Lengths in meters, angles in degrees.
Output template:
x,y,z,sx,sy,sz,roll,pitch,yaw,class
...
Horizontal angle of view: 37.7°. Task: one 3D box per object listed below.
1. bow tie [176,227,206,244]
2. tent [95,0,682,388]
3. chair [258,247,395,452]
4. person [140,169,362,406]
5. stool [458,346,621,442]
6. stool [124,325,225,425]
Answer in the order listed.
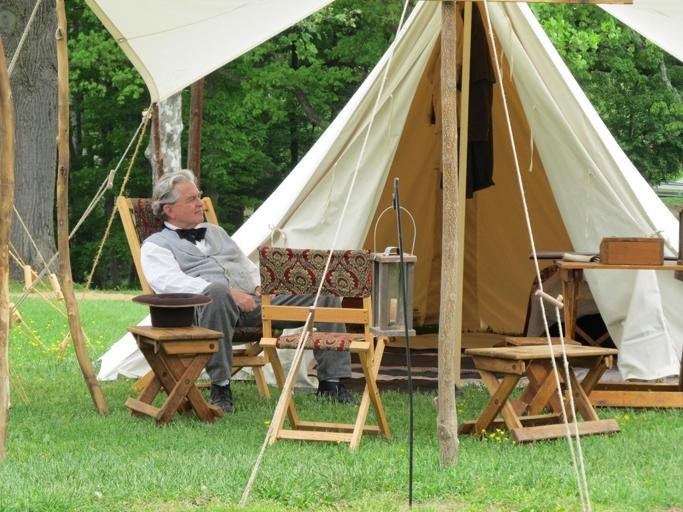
x,y,z,sx,sy,sz,roll,pitch,yaw,class
-1.018,-0.156,6.827,0.118,0.049,0.122,13,18,24,bow tie
1.035,-0.653,8.572,3.146,2.597,3.228,-1,2,1,tent
-0.093,0.518,6.051,0.796,1.165,0.956,0,10,-5,chair
-0.769,0.178,6.764,1.026,1.731,1.483,-4,-6,-33,person
1.211,0.815,6.144,0.962,0.533,0.540,-4,11,-23,stool
-1.060,0.765,6.352,0.493,0.568,0.625,1,0,-28,stool
